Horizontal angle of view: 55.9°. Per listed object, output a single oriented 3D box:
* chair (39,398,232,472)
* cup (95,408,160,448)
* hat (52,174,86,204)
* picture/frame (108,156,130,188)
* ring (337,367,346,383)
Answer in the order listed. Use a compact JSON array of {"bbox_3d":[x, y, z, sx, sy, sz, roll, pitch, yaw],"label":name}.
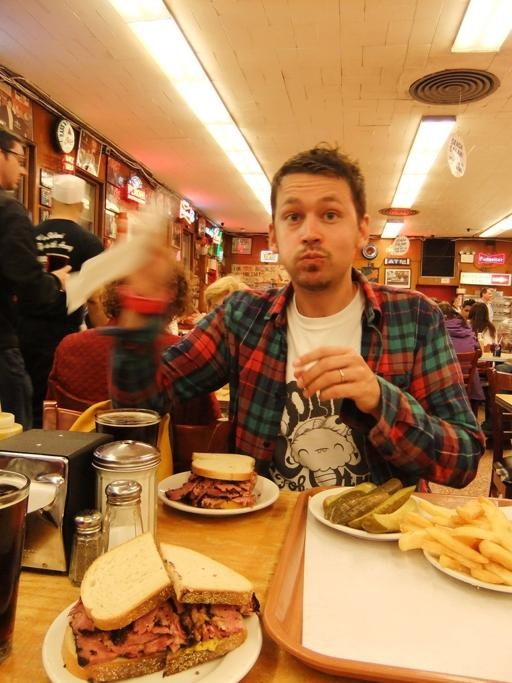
[{"bbox_3d":[-0.391,0.209,1.642,0.452,0.396,0.374,1,0,8],"label":"chair"},{"bbox_3d":[-0.255,0.162,0.960,0.099,0.094,0.092,1,0,0],"label":"cup"},{"bbox_3d":[-1.362,-1.089,3.502,0.208,0.146,0.293,-4,41,-16],"label":"hat"},{"bbox_3d":[-1.985,-2.392,6.861,0.089,0.314,0.357,4,-2,20],"label":"picture/frame"},{"bbox_3d":[0.197,0.076,1.118,0.012,0.027,0.022,-3,-11,6],"label":"ring"}]
